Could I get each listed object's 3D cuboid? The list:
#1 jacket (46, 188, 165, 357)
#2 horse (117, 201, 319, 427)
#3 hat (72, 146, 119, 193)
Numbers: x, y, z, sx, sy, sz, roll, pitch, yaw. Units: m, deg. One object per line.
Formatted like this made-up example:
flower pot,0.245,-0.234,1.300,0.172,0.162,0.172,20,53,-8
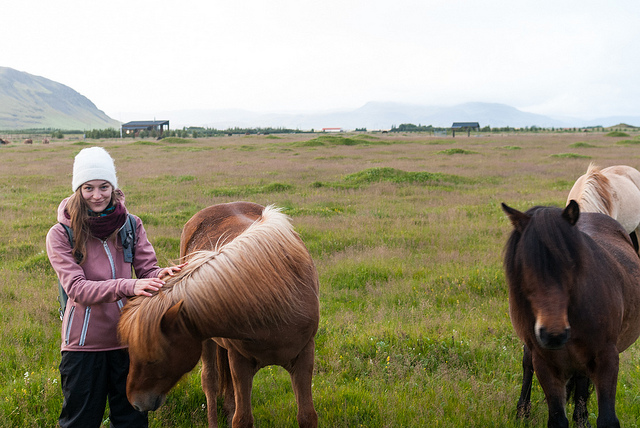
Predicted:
jacket,-2.778,0.832,6.747,1.446,2.171,1.224,2,6,-15
horse,-1.228,1.592,7.061,2.344,3.275,2.046,-3,8,-8
hat,-2.908,-0.549,6.587,0.506,0.604,0.588,-3,2,-23
